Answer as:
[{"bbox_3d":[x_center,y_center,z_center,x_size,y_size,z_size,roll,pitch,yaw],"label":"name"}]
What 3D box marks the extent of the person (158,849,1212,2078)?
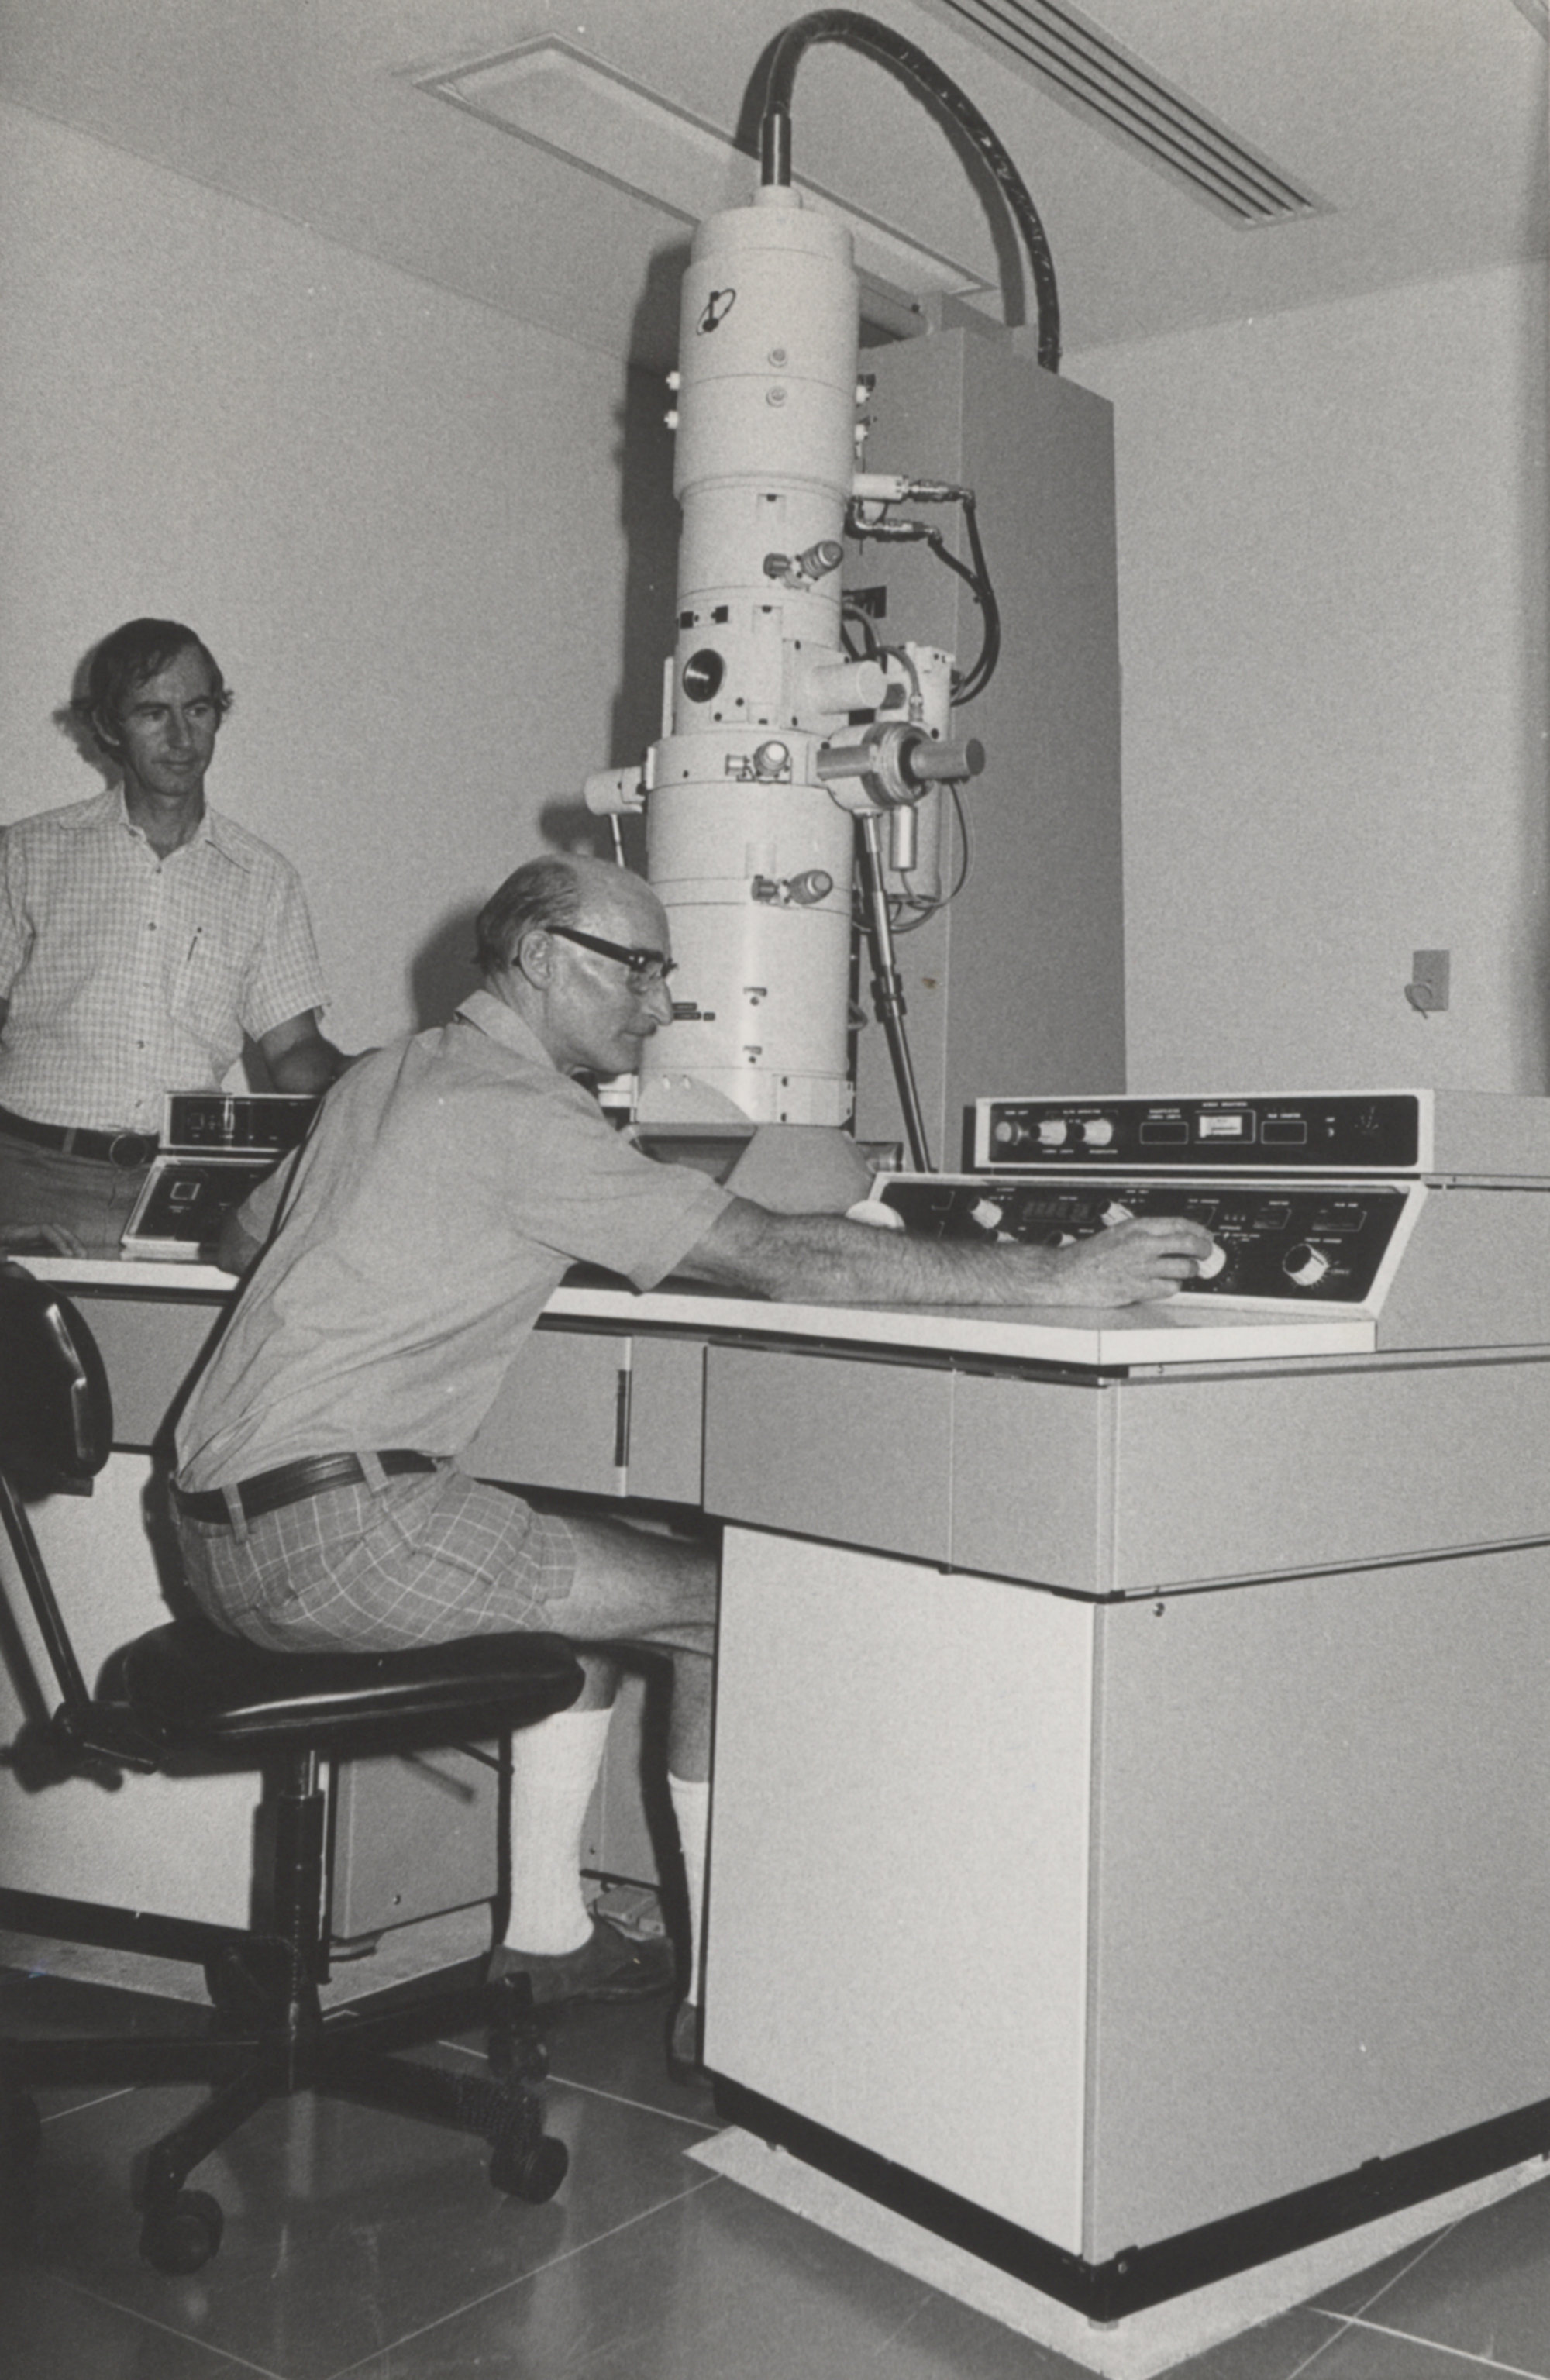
[{"bbox_3d":[-0.086,0.233,1.936,0.881,0.979,0.715,8,8,30],"label":"person"}]
